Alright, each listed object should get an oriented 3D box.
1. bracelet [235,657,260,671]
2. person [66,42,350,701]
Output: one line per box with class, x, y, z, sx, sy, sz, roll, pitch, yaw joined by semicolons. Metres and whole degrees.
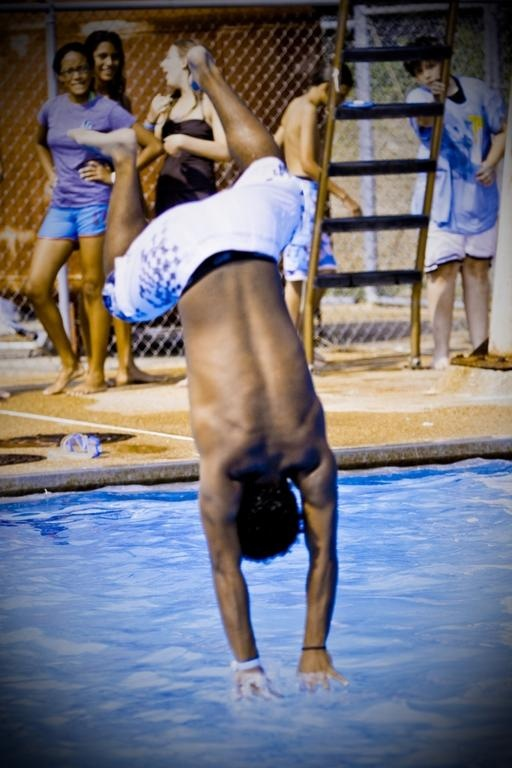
bracelet;-0.018;0.607;2.153;0.038;0.017;0.055;0;-9;-1
person;-0.070;0.025;2.212;0.470;1.357;0.463;-5;15;-16
